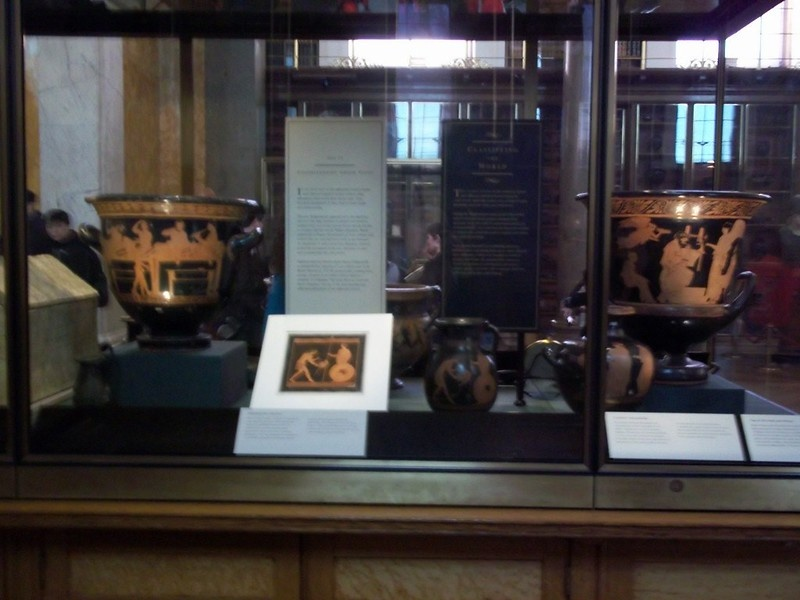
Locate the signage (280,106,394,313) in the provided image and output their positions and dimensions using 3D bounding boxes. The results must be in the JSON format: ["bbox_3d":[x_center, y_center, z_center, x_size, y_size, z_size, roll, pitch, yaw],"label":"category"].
[{"bbox_3d":[-0.167,-0.200,2.094,0.278,0.506,0.017,2,5,19],"label":"signage"}]

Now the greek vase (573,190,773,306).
[{"bbox_3d":[0.730,-0.124,2.286,0.542,0.352,0.496,3,6,13],"label":"greek vase"}]

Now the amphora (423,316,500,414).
[{"bbox_3d":[0.154,0.162,2.035,0.172,0.211,0.108,2,15,6],"label":"amphora"}]

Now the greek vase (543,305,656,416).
[{"bbox_3d":[0.525,0.149,2.086,0.233,0.248,0.263,-4,11,-20],"label":"greek vase"}]

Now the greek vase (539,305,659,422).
[{"bbox_3d":[0.509,0.143,2.070,0.252,0.228,0.198,-5,10,-16],"label":"greek vase"}]

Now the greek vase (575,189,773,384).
[{"bbox_3d":[0.641,-0.053,2.349,0.511,0.535,0.510,-1,4,-17],"label":"greek vase"}]

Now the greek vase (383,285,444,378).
[{"bbox_3d":[0.033,0.074,2.233,0.206,0.264,0.243,1,3,2],"label":"greek vase"}]

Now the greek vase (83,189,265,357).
[{"bbox_3d":[-0.598,-0.057,2.174,0.446,0.349,0.390,1,-3,-15],"label":"greek vase"}]

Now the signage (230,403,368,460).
[{"bbox_3d":[-0.230,0.328,2.025,0.304,0.112,0.021,-2,-8,2],"label":"signage"}]

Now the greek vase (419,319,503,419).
[{"bbox_3d":[0.154,0.168,2.073,0.184,0.228,0.133,-1,4,2],"label":"greek vase"}]

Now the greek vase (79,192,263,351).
[{"bbox_3d":[-0.635,-0.067,2.200,0.500,0.359,0.421,-1,1,-43],"label":"greek vase"}]
